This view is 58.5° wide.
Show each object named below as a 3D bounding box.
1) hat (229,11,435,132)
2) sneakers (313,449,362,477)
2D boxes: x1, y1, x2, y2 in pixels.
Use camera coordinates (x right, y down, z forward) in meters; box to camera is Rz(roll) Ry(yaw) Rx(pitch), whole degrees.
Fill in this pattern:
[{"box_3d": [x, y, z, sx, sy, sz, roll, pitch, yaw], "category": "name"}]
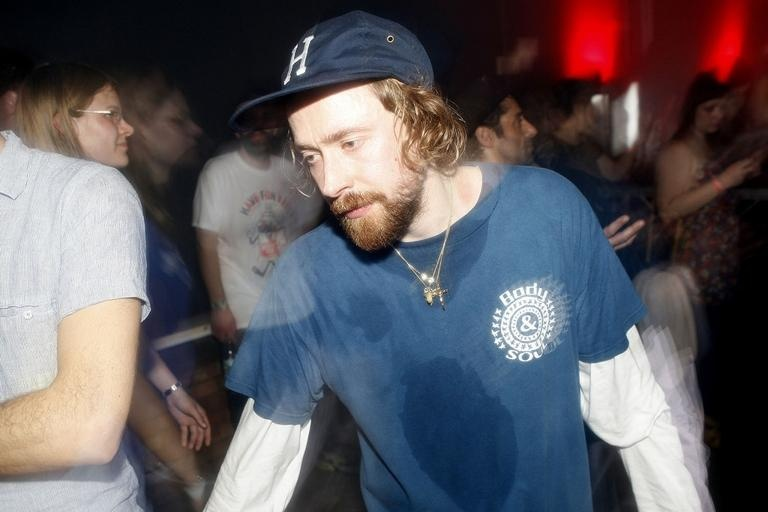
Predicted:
[{"box_3d": [-0.173, -0.841, 3.222, 0.676, 0.409, 0.570, -1, 5, -5], "category": "hat"}, {"box_3d": [-0.355, 1.629, 5.358, 0.271, 0.068, 0.178, 4, 65, 10], "category": "sneakers"}]
